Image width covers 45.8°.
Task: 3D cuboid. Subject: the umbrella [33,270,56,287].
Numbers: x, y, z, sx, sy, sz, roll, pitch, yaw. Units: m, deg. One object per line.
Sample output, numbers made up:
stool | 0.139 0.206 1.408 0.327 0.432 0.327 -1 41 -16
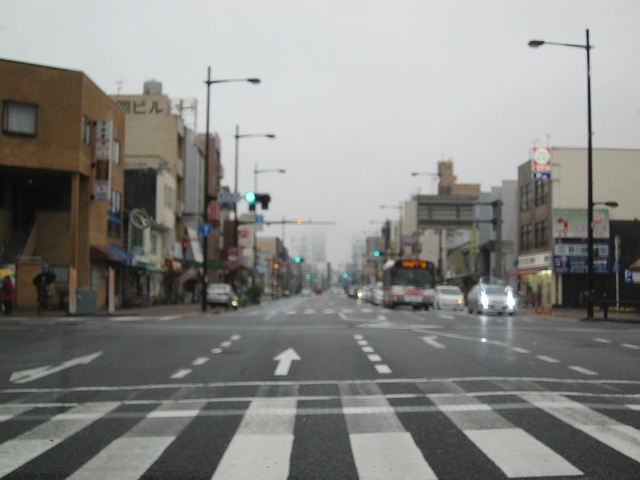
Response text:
umbrella | -11.745 1.458 32.191 0.774 0.346 0.872 4 -19 -9

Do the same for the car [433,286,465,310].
car | 8.234 3.705 48.668 1.687 1.527 2.016 -2 -7 3

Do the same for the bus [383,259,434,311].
bus | 5.588 2.804 47.788 2.582 3.248 3.543 -1 -6 -6

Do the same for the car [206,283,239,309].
car | -5.962 3.371 46.058 0.972 1.102 2.359 1 0 8

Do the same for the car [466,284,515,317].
car | 9.018 3.288 39.707 2.024 1.897 2.572 2 -2 -3
